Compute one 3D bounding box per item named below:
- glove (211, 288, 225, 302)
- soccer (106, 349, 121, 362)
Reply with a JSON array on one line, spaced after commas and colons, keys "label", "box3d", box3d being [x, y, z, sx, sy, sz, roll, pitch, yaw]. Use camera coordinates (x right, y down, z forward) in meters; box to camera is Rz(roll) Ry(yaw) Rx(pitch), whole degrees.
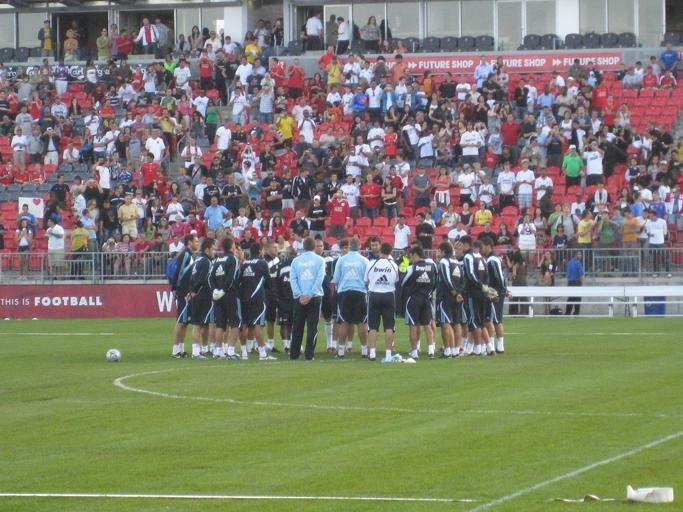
[{"label": "glove", "box3d": [-3.321, 1.064, 47.333, 0.247, 0.209, 0.287, 2, -10, -20]}, {"label": "soccer", "box3d": [-6.080, 2.695, 47.445, 0.333, 0.334, 0.331, 15, -13, -38]}]
